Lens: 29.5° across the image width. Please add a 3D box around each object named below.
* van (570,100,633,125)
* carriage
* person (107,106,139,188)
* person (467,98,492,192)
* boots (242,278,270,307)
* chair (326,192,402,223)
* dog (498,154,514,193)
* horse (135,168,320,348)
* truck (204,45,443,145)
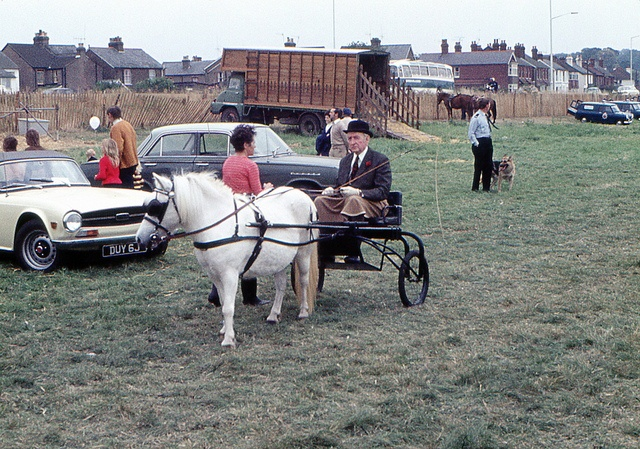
[{"bbox_3d":[14.134,-5.587,60.822,3.069,0.954,0.978,7,13,44],"label":"van"},{"bbox_3d":[-0.795,0.607,29.864,6.959,4.449,2.916,-9,17,-26],"label":"carriage"},{"bbox_3d":[-5.374,-2.186,33.189,0.715,2.267,0.757,7,15,-2],"label":"person"},{"bbox_3d":[4.945,-2.478,36.912,0.771,2.764,0.607,-14,21,-32],"label":"person"},{"bbox_3d":[-1.535,1.696,30.114,0.754,0.864,0.450,-3,12,-17],"label":"boots"},{"bbox_3d":[1.617,-0.343,29.794,0.846,0.615,0.900,-3,6,-22],"label":"chair"},{"bbox_3d":[5.869,-1.515,37.932,0.417,1.123,1.594,5,-1,9],"label":"dog"},{"bbox_3d":[-2.023,0.685,29.605,4.732,4.574,1.731,-10,18,-28],"label":"horse"},{"bbox_3d":[-0.434,-5.262,48.728,7.404,3.725,3.764,10,14,28],"label":"truck"}]
